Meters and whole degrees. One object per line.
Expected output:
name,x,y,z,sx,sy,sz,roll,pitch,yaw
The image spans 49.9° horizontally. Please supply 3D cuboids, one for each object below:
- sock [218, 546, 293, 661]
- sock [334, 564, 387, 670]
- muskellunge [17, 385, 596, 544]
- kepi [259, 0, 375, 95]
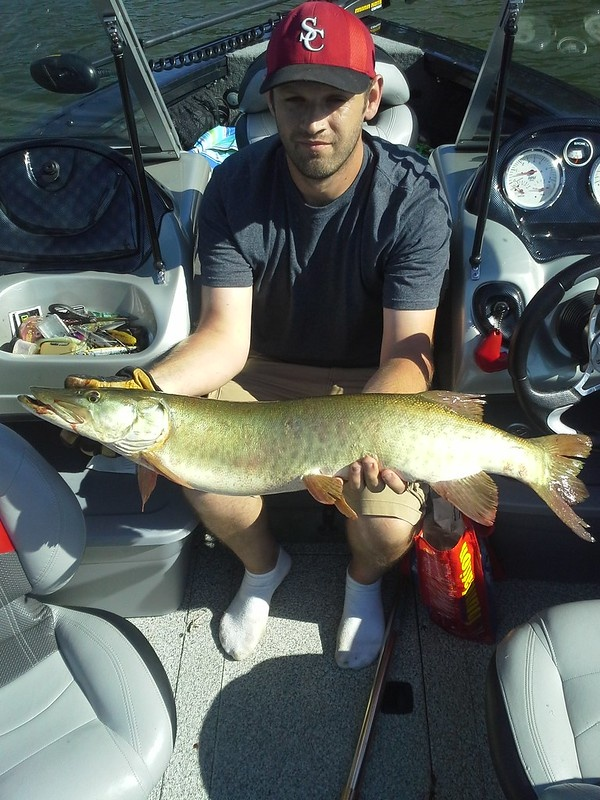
sock,-0.149,0.709,2.308,0.147,0.136,0.378,14,44,17
sock,0.219,0.716,2.197,0.126,0.143,0.347,3,42,8
muskellunge,0.035,0.181,1.749,1.539,0.407,0.256,5,33,8
kepi,0.058,-1.005,1.843,0.268,0.170,0.337,8,33,9
